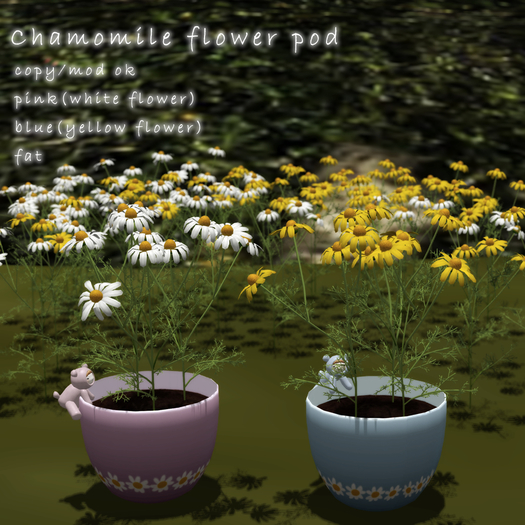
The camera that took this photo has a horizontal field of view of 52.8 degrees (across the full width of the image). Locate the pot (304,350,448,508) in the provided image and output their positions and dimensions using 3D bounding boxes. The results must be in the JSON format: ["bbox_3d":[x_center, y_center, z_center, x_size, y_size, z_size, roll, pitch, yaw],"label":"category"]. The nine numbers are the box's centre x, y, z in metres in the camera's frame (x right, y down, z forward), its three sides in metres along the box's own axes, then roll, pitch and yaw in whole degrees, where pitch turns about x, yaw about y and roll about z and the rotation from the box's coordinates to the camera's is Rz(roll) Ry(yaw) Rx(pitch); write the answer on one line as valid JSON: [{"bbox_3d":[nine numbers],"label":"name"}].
[{"bbox_3d":[0.592,0.940,2.809,0.734,0.485,0.830,-2,1,-6],"label":"pot"}]

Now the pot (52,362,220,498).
[{"bbox_3d":[-0.607,0.855,2.792,0.701,0.716,0.575,6,15,25],"label":"pot"}]
